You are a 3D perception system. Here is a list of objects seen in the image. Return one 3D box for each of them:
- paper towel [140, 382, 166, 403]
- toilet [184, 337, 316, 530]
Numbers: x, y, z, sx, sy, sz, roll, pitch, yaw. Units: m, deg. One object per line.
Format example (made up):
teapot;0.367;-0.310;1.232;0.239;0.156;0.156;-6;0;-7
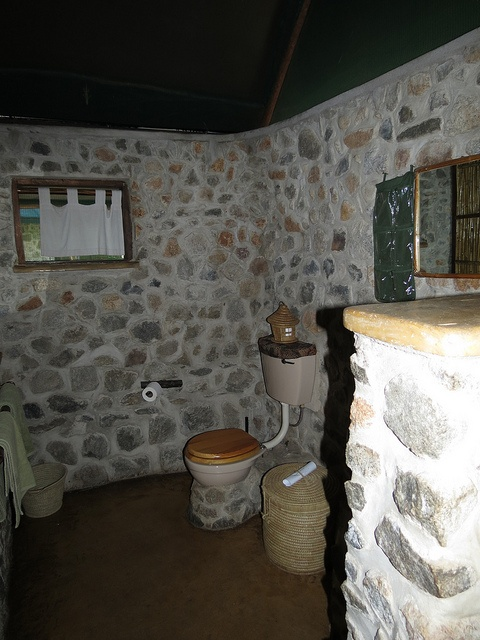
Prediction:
paper towel;-0.566;0.470;2.806;0.131;0.119;0.135;-2;6;6
toilet;0.017;0.624;2.472;0.734;0.959;0.409;-2;9;-38
